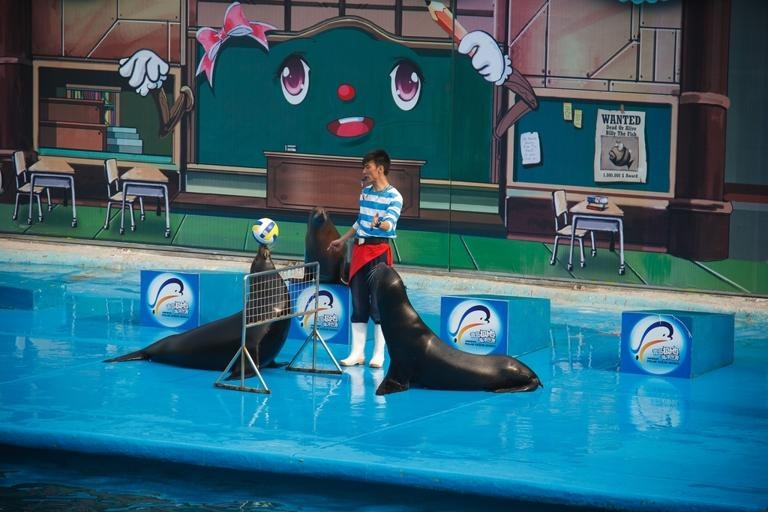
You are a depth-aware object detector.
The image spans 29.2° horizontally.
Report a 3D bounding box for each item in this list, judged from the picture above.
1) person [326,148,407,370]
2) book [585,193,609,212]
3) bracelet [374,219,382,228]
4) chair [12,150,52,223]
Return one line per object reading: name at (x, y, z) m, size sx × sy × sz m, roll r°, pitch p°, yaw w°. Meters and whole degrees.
person at (-0.202, 0.021, 19.433) m, size 0.814 × 2.930 × 0.871 m, roll 1°, pitch 2°, yaw -2°
book at (3.473, -0.920, 23.834) m, size 0.379 × 0.281 × 0.224 m, roll 8°, pitch 16°, yaw 28°
bracelet at (-0.078, -0.442, 19.013) m, size 0.091 × 0.057 × 0.139 m, roll 3°, pitch 10°, yaw 4°
chair at (-6.121, -1.318, 26.432) m, size 0.750 × 1.165 × 0.616 m, roll -17°, pitch 2°, yaw -43°
